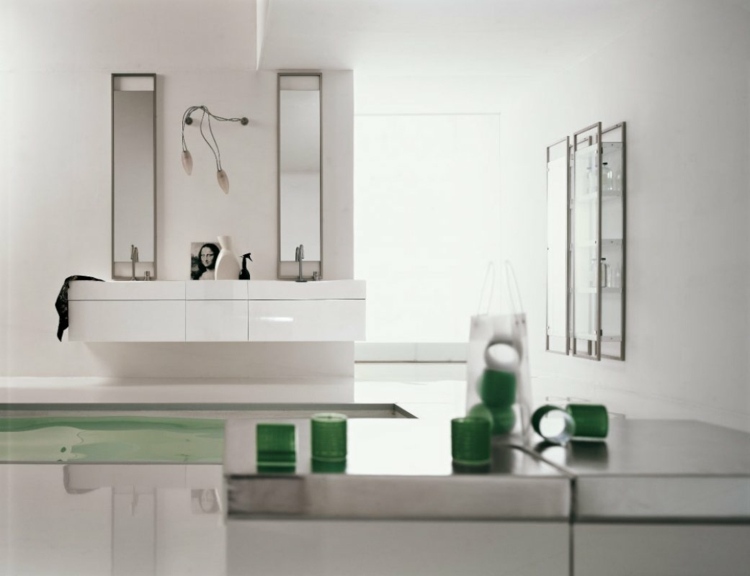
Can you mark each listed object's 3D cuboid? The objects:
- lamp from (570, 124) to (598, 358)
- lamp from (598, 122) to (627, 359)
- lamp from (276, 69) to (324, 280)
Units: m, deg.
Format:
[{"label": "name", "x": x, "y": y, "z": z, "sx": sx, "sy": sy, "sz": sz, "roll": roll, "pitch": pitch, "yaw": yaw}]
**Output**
[{"label": "lamp", "x": 0.892, "y": -0.208, "z": 3.358, "sx": 0.123, "sy": 0.966, "sz": 0.546, "roll": 0, "pitch": 4, "yaw": 14}, {"label": "lamp", "x": 0.950, "y": -0.193, "z": 3.157, "sx": 0.099, "sy": 0.936, "sz": 0.254, "roll": 0, "pitch": 4, "yaw": 16}, {"label": "lamp", "x": -0.385, "y": -0.566, "z": 3.959, "sx": 0.216, "sy": 1.029, "sz": 0.126, "roll": 0, "pitch": 4, "yaw": 11}]
